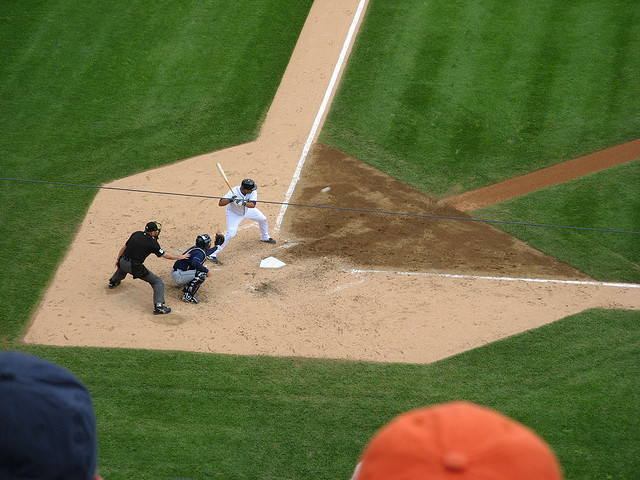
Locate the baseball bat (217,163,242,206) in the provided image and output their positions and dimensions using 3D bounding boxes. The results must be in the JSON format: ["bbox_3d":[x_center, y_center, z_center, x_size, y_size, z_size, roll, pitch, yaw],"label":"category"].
[{"bbox_3d":[-2.205,-1.420,19.796,0.218,1.359,0.069,-23,62,4],"label":"baseball bat"}]

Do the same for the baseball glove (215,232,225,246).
[{"bbox_3d":[-2.382,-0.023,19.647,0.229,0.323,0.275,14,28,-9],"label":"baseball glove"}]
